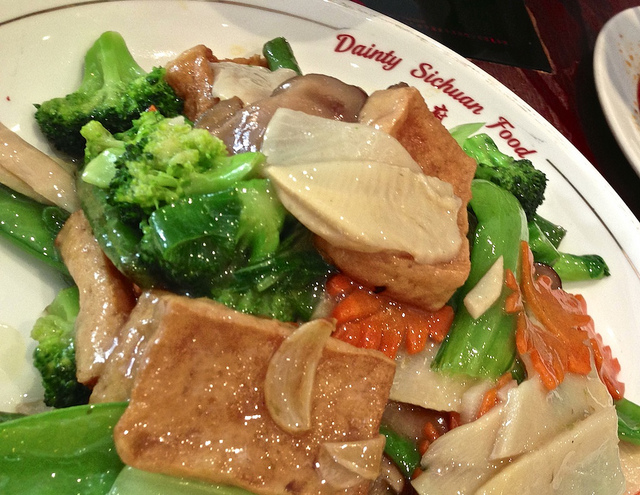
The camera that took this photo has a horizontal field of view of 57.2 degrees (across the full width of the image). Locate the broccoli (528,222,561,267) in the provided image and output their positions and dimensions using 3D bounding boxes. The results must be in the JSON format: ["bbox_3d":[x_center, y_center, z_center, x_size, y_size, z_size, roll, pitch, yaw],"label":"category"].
[{"bbox_3d":[1.349,-0.008,3.588,0.084,0.251,0.269,-24,59,18],"label":"broccoli"}]

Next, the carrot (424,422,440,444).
[{"bbox_3d":[0.548,0.910,2.893,0.076,0.022,0.076,45,68,-5],"label":"carrot"}]

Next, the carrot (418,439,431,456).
[{"bbox_3d":[0.509,0.973,2.872,0.031,0.045,0.061,25,81,17],"label":"carrot"}]
